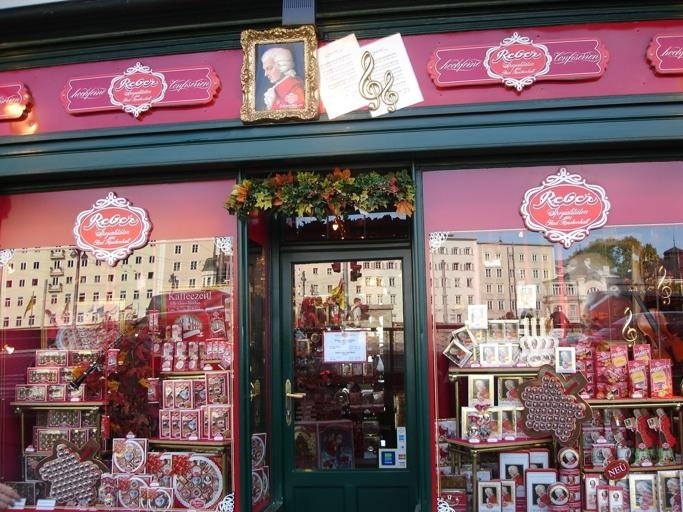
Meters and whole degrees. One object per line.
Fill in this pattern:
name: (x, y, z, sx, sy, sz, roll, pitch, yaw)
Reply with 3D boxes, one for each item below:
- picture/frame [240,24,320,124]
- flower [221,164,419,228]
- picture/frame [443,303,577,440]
picture/frame: (-0.531, -1.628, 7.511, 0.932, 1.024, 0.144, -1, -4, 9)
flower: (-0.167, -0.539, 7.619, 1.716, 0.493, 0.599, -3, -15, 4)
picture/frame: (1.553, 1.052, 7.378, 1.226, 1.100, 0.494, -1, -5, 2)
